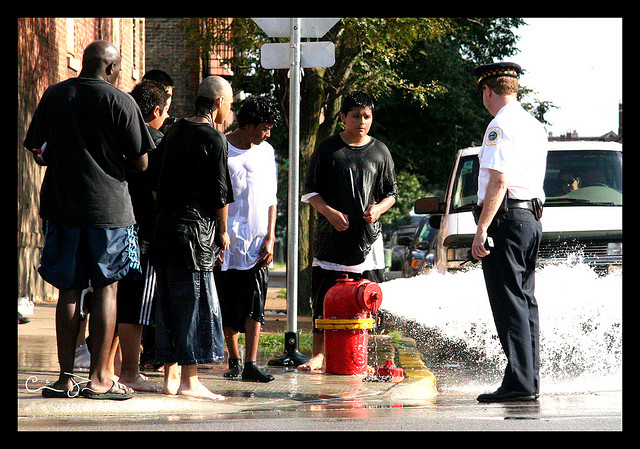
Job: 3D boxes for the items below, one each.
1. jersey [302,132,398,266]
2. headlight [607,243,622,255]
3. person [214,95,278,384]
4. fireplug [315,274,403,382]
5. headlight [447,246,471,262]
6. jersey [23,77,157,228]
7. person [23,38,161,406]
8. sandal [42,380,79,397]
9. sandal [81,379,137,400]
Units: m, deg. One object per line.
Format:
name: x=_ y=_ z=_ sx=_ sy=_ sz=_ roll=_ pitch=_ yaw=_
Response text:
jersey: x=0.313 y=-0.260 z=12.902 sx=0.976 sy=1.393 sz=0.267 roll=0 pitch=1 yaw=-2
headlight: x=3.373 y=0.276 z=13.787 sx=0.201 sy=0.152 sz=0.115 roll=0 pitch=-4 yaw=5
person: x=-0.753 y=0.113 z=12.597 sx=0.883 sy=2.660 sz=0.858 roll=4 pitch=8 yaw=-12
fireplug: x=0.356 y=1.027 z=12.955 sx=1.024 sy=1.104 sz=0.796 roll=-1 pitch=4 yaw=-39
headlight: x=1.616 y=0.347 z=14.412 sx=0.265 sy=0.171 sz=0.055 roll=-1 pitch=-7 yaw=37
jersey: x=-2.149 y=-0.670 z=11.228 sx=1.128 sy=1.388 sz=0.343 roll=0 pitch=1 yaw=-10
person: x=-2.196 y=-0.048 z=11.557 sx=1.403 sy=3.349 sz=1.151 roll=0 pitch=-5 yaw=5
sandal: x=-2.416 y=1.523 z=11.177 sx=0.327 sy=0.117 sz=0.120 roll=5 pitch=-6 yaw=-2
sandal: x=-1.987 y=1.518 z=11.177 sx=0.382 sy=0.115 sz=0.186 roll=0 pitch=-2 yaw=-8
